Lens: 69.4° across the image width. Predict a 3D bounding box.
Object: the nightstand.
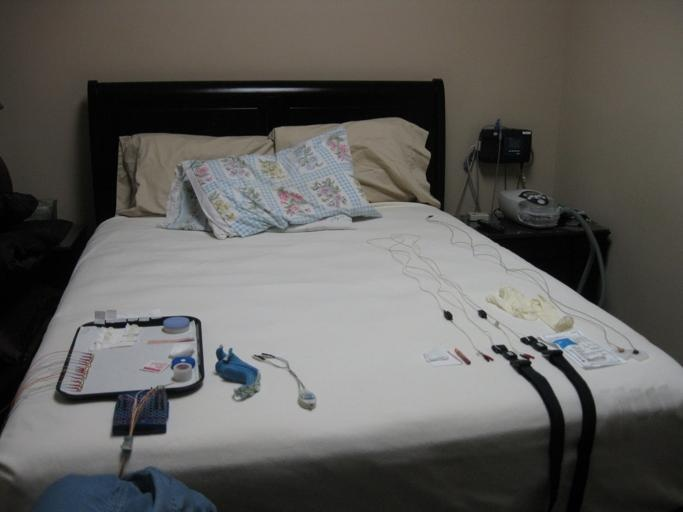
[{"bbox_3d":[0.937,0.000,2.271,0.396,0.400,0.232,-2,34,-1],"label":"nightstand"}]
